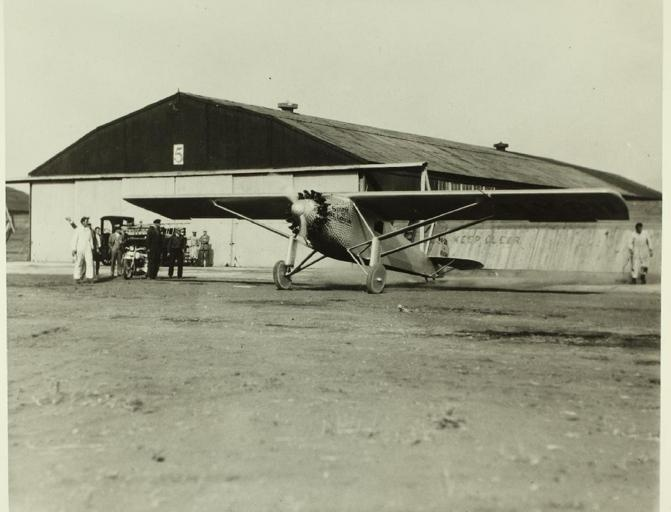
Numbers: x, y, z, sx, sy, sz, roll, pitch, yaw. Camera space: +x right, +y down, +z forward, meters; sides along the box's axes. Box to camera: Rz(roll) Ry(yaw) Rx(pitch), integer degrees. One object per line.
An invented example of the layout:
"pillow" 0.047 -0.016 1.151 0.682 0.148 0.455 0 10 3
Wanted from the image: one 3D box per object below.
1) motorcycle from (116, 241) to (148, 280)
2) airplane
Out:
"motorcycle" -5.798 0.172 21.010 0.613 0.669 1.001 4 -3 23
"airplane" 1.005 -0.349 17.247 10.676 1.853 4.197 3 2 23
